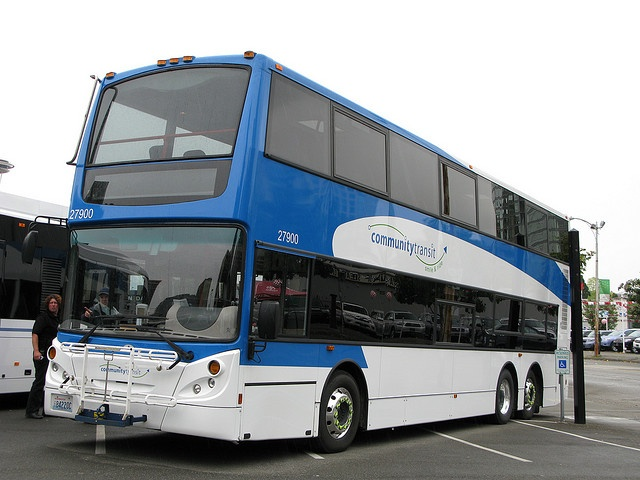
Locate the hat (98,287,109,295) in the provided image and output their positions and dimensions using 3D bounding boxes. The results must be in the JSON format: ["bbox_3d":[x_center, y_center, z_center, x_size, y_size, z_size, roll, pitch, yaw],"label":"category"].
[{"bbox_3d":[-3.065,0.728,6.569,0.088,0.070,0.136,0,-21,-4],"label":"hat"}]

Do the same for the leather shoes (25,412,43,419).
[{"bbox_3d":[-5.867,3.585,9.495,0.328,0.159,0.107,-4,-8,20],"label":"leather shoes"}]
